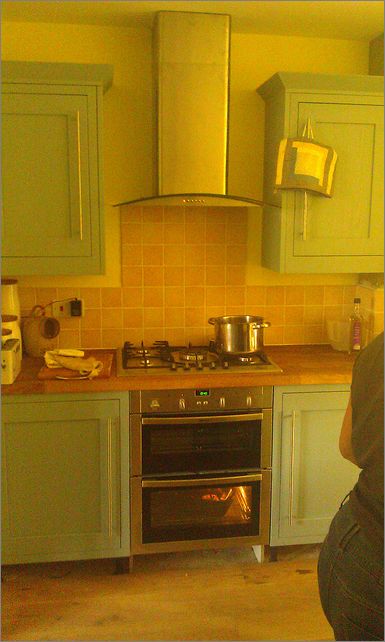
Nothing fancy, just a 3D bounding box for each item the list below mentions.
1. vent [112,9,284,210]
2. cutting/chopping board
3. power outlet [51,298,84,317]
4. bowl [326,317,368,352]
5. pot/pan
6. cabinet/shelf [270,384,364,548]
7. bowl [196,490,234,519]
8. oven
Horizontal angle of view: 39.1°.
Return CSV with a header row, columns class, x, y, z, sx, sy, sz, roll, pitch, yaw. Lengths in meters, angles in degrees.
class,x,y,z,sx,sy,sz,roll,pitch,yaw
vent,-0.027,-0.904,2.260,0.293,0.820,0.433,10,48,4
cutting/chopping board,-0.454,0.164,2.187,0.308,0.109,0.329,-1,15,-7
power outlet,-0.578,-0.055,2.518,0.143,0.087,0.032,-1,8,-16
bowl,0.726,0.067,2.557,0.164,0.131,0.135,-1,7,-1
pot/pan,0.193,0.070,2.356,0.241,0.167,0.342,1,8,2
cabinet/shelf,0.455,0.575,2.422,0.448,0.645,0.416,-1,9,-7
bowl,0.099,0.740,2.201,0.113,0.118,0.134,0,-3,1
oven,0.001,0.548,2.394,0.577,0.682,0.576,-1,8,-8
